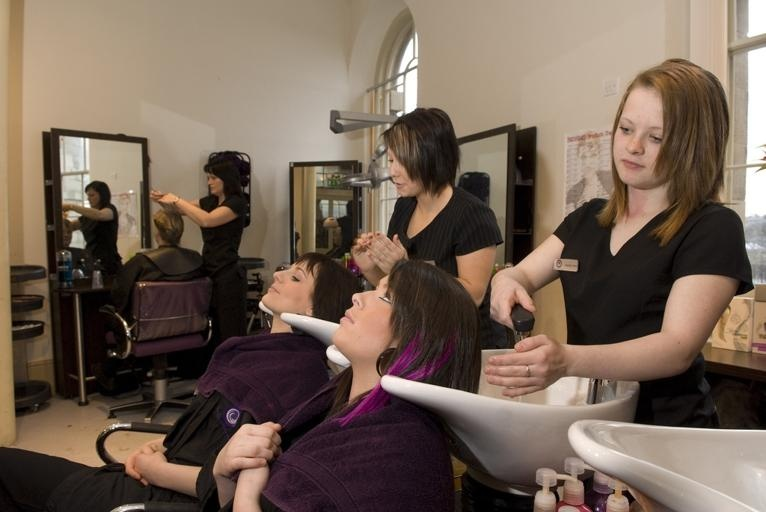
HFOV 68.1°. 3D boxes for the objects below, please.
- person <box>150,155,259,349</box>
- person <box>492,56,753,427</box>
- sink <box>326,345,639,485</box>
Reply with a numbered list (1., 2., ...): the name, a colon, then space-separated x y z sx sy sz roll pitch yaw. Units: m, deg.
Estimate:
1. person: -1.263 0.127 4.045 0.550 1.662 0.700 4 8 44
2. person: 0.612 -0.109 1.514 0.624 0.799 0.482 -3 9 -2
3. sink: 0.335 0.355 1.413 0.490 0.238 0.357 0 -4 -2
